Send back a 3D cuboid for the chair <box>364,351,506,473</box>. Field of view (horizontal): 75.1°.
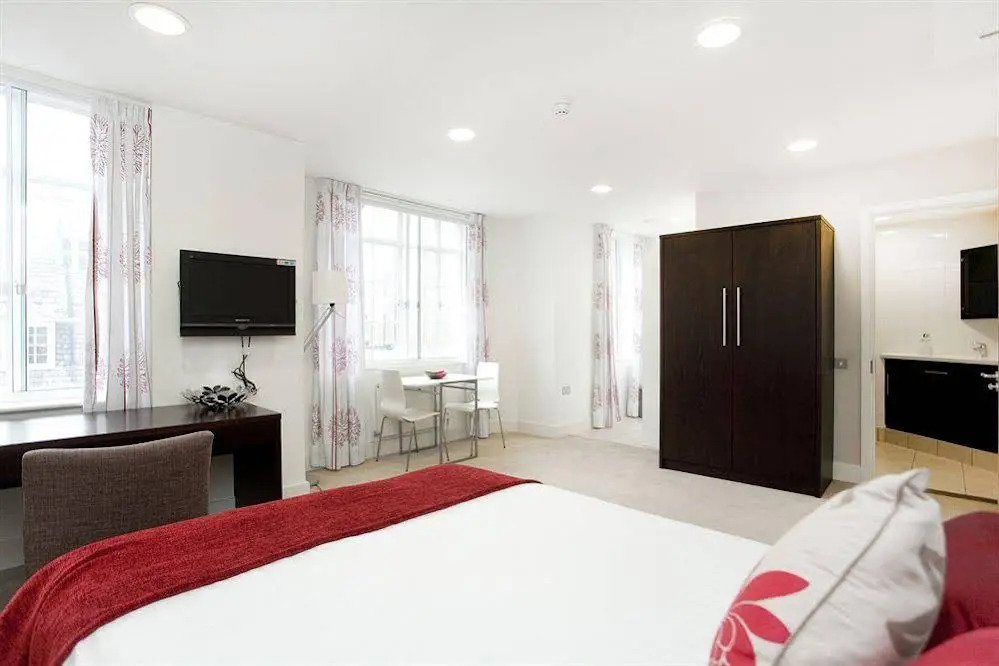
[{"bbox_3d":[-0.602,0.797,6.708,1.318,0.902,0.755,-3,4,-43],"label":"chair"}]

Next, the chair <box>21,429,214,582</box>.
[{"bbox_3d":[-1.963,0.801,3.519,0.735,0.954,0.667,-1,-3,45],"label":"chair"}]

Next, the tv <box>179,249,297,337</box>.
[{"bbox_3d":[-1.957,-0.294,4.784,0.655,0.471,0.066,2,-2,-42],"label":"tv"}]

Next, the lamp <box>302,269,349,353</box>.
[{"bbox_3d":[-1.511,-0.220,5.655,0.337,0.652,0.646,-2,2,-17],"label":"lamp"}]
